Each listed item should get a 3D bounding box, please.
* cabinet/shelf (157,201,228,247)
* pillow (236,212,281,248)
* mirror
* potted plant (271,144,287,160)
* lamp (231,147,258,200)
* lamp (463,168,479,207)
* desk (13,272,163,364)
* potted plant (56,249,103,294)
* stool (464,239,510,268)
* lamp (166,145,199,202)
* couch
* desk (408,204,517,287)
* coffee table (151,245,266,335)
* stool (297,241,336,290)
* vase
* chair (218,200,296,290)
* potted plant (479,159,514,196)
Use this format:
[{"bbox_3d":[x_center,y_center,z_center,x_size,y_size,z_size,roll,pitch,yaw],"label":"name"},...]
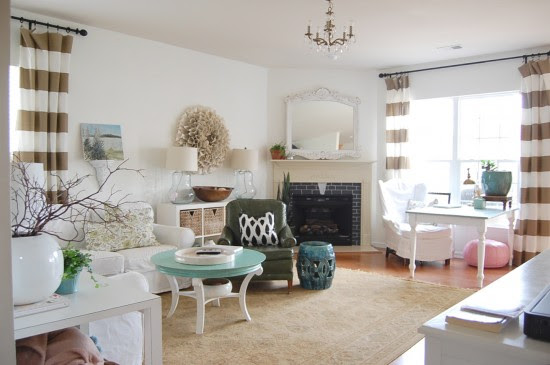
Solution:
[{"bbox_3d":[-1.120,0.543,5.192,0.210,0.473,0.663,0,1,38],"label":"cabinet/shelf"},{"bbox_3d":[-0.221,0.591,4.942,0.662,0.586,0.341,-1,-8,-9],"label":"pillow"},{"bbox_3d":[0.839,-0.992,6.848,1.432,1.316,0.031,0,-2,-15],"label":"mirror"},{"bbox_3d":[0.067,-0.486,6.633,0.275,0.240,0.252,1,-5,-1],"label":"potted plant"},{"bbox_3d":[-0.491,-0.149,6.308,0.393,0.784,0.549,0,6,-6],"label":"lamp"},{"bbox_3d":[2.953,0.085,5.940,0.264,0.578,1.183,3,6,26],"label":"lamp"},{"bbox_3d":[-0.993,0.670,2.165,0.512,0.424,0.499,-4,5,-26],"label":"desk"},{"bbox_3d":[-1.118,0.483,2.269,0.252,0.247,0.254,0,1,-8],"label":"potted plant"},{"bbox_3d":[2.998,1.013,5.697,0.619,0.370,0.607,-1,0,-11],"label":"stool"},{"bbox_3d":[-1.267,-0.102,5.412,0.400,0.782,0.414,-1,7,-13],"label":"lamp"},{"bbox_3d":[-1.704,0.692,4.538,1.078,1.008,1.468,-2,-3,35],"label":"couch"},{"bbox_3d":[2.380,0.485,4.994,1.055,0.879,1.404,-1,-1,37],"label":"desk"},{"bbox_3d":[-0.662,1.087,3.992,1.168,0.658,1.164,1,0,-42],"label":"coffee table"},{"bbox_3d":[0.454,1.012,4.872,0.509,0.494,0.523,1,0,-1],"label":"stool"},{"bbox_3d":[-1.143,0.436,2.035,0.309,0.271,0.301,2,-1,-25],"label":"vase"},{"bbox_3d":[-0.215,0.716,4.788,0.903,0.973,0.933,0,1,-1],"label":"chair"},{"bbox_3d":[2.904,-0.028,5.182,0.360,0.392,0.358,-20,20,-35],"label":"potted plant"}]
